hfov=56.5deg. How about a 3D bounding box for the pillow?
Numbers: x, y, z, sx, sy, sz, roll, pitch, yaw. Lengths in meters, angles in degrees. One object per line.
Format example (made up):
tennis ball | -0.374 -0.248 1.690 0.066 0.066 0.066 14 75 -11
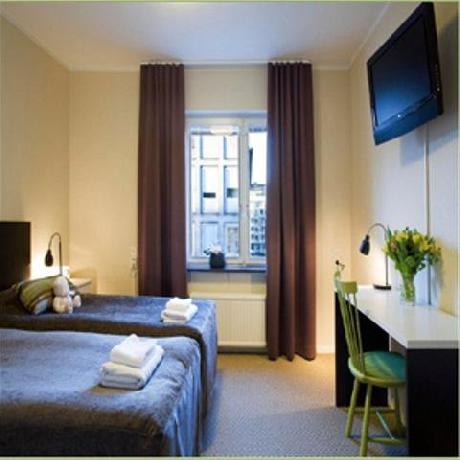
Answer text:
pillow | -1.368 0.496 3.219 0.279 0.095 0.301 1 42 -51

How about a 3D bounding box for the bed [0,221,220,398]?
bed | -0.879 0.507 3.393 1.454 1.305 1.070 0 -2 1

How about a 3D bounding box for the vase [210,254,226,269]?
vase | -0.120 0.314 4.261 0.116 0.152 0.134 -2 -2 15

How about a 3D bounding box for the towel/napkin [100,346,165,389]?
towel/napkin | -0.527 0.709 2.330 0.223 0.129 0.373 3 10 1

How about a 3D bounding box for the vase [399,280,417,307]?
vase | 1.131 0.390 2.718 0.110 0.244 0.126 -2 -2 30

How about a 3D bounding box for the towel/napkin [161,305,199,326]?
towel/napkin | -0.337 0.602 3.050 0.283 0.081 0.216 -3 7 -24

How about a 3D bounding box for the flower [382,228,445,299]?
flower | 1.157 0.158 2.838 0.276 0.339 0.264 9 32 46

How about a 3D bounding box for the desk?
desk | 1.074 0.796 2.495 0.460 0.627 0.740 -1 6 -9
